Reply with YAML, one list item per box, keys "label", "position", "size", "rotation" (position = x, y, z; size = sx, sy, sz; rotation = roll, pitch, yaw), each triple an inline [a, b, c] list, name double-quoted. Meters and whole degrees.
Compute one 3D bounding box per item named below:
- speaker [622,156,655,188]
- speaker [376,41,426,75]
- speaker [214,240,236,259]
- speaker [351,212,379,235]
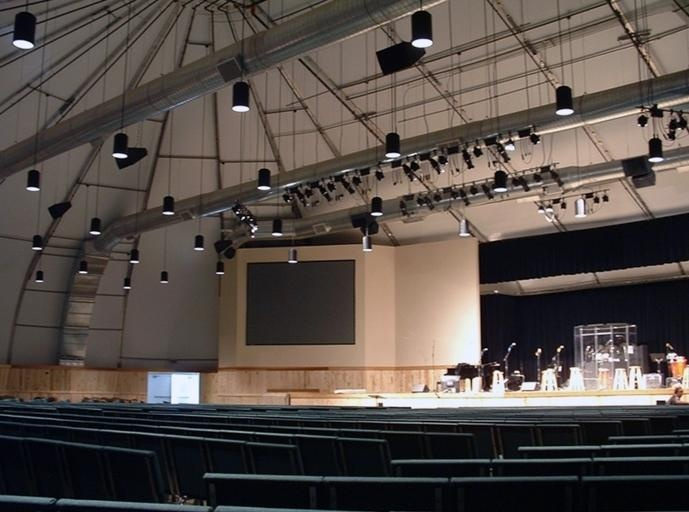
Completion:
- label: "speaker"
  position: [6.224, -1.784, 13.792]
  size: [0.545, 0.371, 0.922]
  rotation: [-10, -17, 28]
- label: "speaker"
  position: [0.929, -3.318, 10.644]
  size: [0.731, 0.558, 0.669]
  rotation: [-5, -15, 12]
- label: "speaker"
  position: [-3.536, -0.231, 19.303]
  size: [0.682, 0.507, 0.260]
  rotation: [7, 35, 43]
- label: "speaker"
  position: [0.588, -0.829, 17.019]
  size: [0.485, 0.560, 0.637]
  rotation: [-2, -7, 33]
